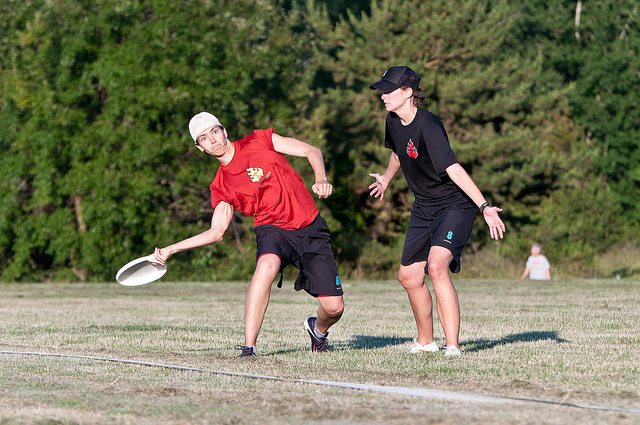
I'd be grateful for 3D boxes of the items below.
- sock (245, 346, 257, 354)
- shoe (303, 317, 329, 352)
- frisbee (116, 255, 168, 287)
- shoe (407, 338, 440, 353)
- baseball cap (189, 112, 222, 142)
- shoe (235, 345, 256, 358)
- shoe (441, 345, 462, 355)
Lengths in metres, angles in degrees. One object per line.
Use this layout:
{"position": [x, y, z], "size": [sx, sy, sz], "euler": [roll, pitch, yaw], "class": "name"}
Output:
{"position": [-0.995, 1.931, 15.553], "size": [0.149, 0.145, 0.133], "euler": [-1, -3, 35], "class": "sock"}
{"position": [-0.068, 1.810, 16.291], "size": [0.301, 0.620, 0.218], "euler": [1, 5, 35], "class": "shoe"}
{"position": [-2.575, 0.832, 15.885], "size": [0.652, 0.407, 0.116], "euler": [-18, 43, 0], "class": "frisbee"}
{"position": [1.518, 1.951, 16.082], "size": [0.472, 0.230, 0.161], "euler": [-3, -6, 14], "class": "shoe"}
{"position": [-1.675, -1.264, 15.850], "size": [0.429, 0.425, 0.245], "euler": [-1, 6, -8], "class": "baseball cap"}
{"position": [-1.107, 1.947, 15.634], "size": [0.200, 0.155, 0.335], "euler": [-5, 8, -41], "class": "shoe"}
{"position": [1.887, 1.936, 15.596], "size": [0.246, 0.155, 0.166], "euler": [0, 6, 3], "class": "shoe"}
